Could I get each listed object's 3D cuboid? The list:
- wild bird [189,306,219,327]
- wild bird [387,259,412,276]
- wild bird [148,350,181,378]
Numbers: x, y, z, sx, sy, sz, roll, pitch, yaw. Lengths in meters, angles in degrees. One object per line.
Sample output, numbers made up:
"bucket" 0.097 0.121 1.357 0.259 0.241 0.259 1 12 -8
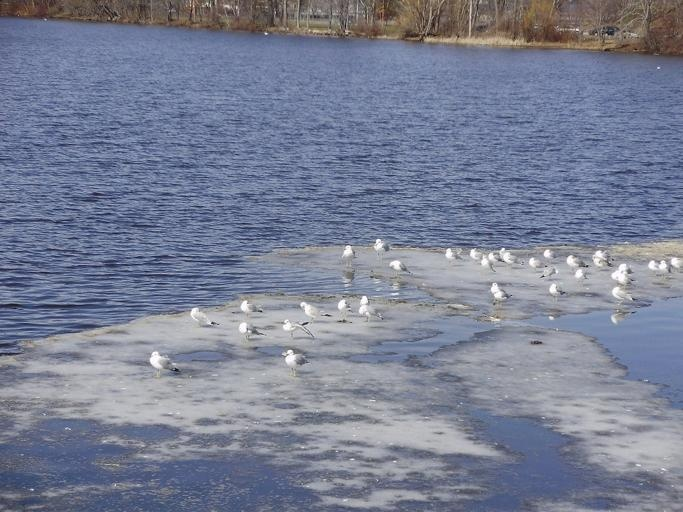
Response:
"wild bird" -5.507 2.440 40.029 1.055 0.739 0.899 0 12 -1
"wild bird" 2.772 0.452 46.358 1.034 0.658 1.516 1 11 2
"wild bird" -6.554 3.890 36.602 1.049 0.818 1.228 -2 12 -11
